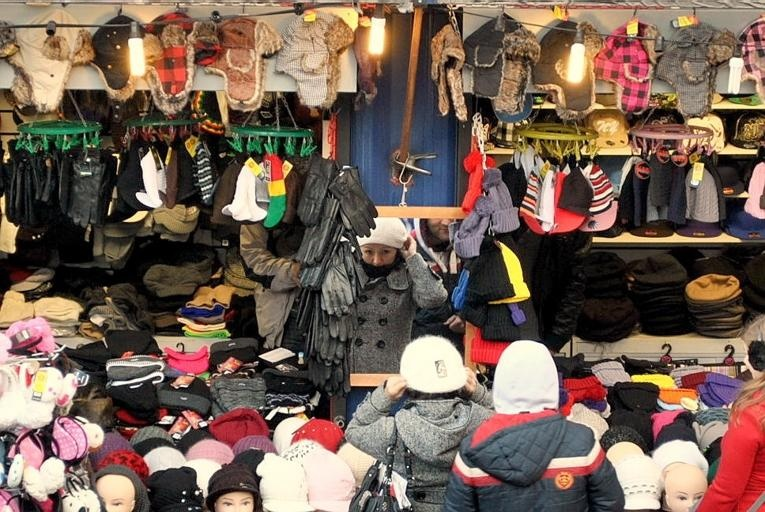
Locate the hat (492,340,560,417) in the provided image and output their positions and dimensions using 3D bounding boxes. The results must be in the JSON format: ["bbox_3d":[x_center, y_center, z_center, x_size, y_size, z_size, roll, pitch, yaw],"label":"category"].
[{"bbox_3d":[0.707,0.595,3.378,0.271,0.372,0.127,2,-8,5],"label":"hat"}]

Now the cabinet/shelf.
[{"bbox_3d":[2.386,-0.213,6.103,2.543,2.375,0.758,0,5,3],"label":"cabinet/shelf"}]

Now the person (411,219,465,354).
[{"bbox_3d":[0.437,0.190,5.395,0.687,0.869,0.322,5,0,5],"label":"person"}]

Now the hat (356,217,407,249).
[{"bbox_3d":[0.010,-0.126,4.990,0.228,0.229,0.301,15,14,13],"label":"hat"}]
